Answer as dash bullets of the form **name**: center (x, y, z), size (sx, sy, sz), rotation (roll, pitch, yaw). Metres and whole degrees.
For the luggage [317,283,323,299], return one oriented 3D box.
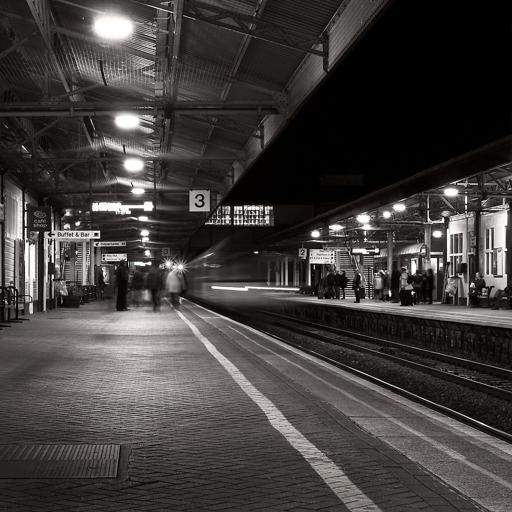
- **luggage**: center (4.817, 2.559, 43.648), size (0.558, 1.131, 1.098), rotation (0, 1, 0)

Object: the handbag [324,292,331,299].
- **handbag**: center (5.104, 2.755, 41.353), size (0.338, 0.673, 0.665), rotation (-1, 1, -5)
